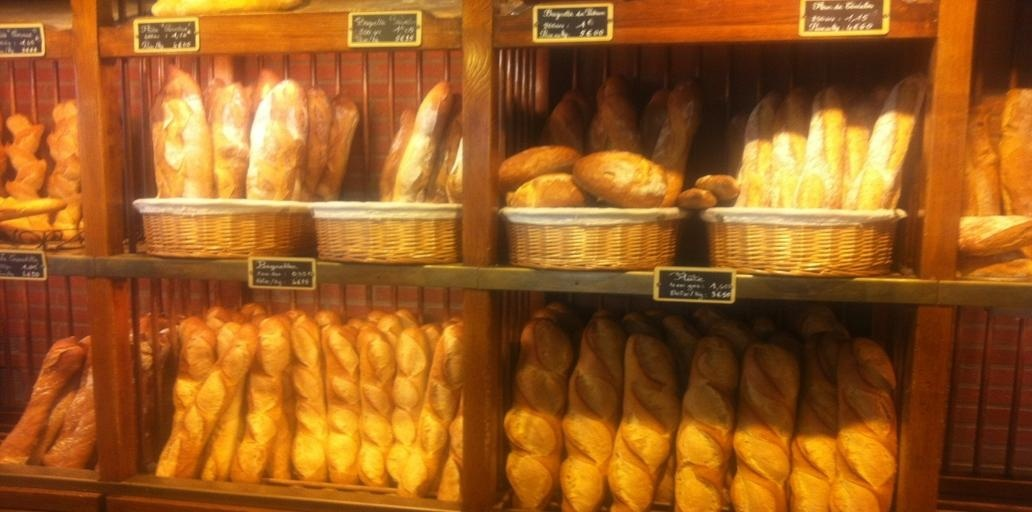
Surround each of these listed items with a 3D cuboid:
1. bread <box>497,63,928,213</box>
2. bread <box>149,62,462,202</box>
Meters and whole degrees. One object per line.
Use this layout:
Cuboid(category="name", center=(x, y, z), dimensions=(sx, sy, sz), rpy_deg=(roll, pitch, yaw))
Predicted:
Cuboid(category="bread", center=(0.899, -0.481, 4.165), dimensions=(1.473, 0.411, 0.837), rpy_deg=(2, 2, 15))
Cuboid(category="bread", center=(-0.996, -0.516, 4.426), dimensions=(1.300, 0.393, 0.775), rpy_deg=(0, 1, -30))
